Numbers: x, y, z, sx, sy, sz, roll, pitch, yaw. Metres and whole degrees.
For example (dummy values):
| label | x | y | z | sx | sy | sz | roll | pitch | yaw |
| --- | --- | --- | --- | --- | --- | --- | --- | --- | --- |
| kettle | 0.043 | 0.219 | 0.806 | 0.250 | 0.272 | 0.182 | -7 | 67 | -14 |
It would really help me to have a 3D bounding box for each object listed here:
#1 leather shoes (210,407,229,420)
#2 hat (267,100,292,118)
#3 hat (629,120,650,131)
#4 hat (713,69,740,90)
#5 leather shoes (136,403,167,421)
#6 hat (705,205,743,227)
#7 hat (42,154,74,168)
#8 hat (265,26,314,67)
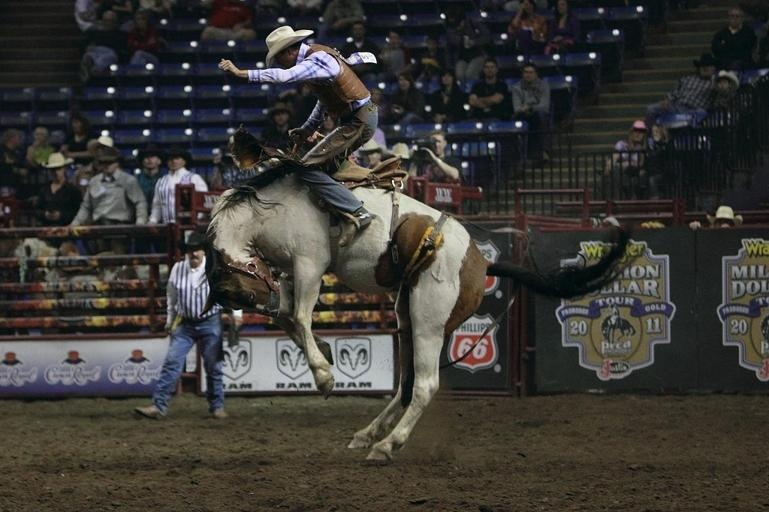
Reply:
| label | x | y | z | sx | sy | sz | roll | pitch | yaw |
| --- | --- | --- | --- | --- | --- | --- | --- | --- | --- |
| leather shoes | -3.366 | 3.204 | 33.730 | 0.186 | 0.131 | 0.319 | 5 | -13 | -28 |
| hat | -2.542 | -3.610 | 40.457 | 0.743 | 0.203 | 0.722 | -1 | -8 | -1 |
| hat | 5.981 | -3.099 | 38.693 | 0.407 | 0.305 | 0.325 | 2 | 1 | 24 |
| hat | 8.142 | -4.194 | 39.025 | 0.540 | 0.511 | 0.784 | 0 | -1 | 12 |
| leather shoes | -4.710 | 3.151 | 33.496 | 0.671 | 0.266 | 0.245 | 13 | 16 | -20 |
| hat | 7.363 | -0.873 | 35.694 | 0.720 | 0.452 | 0.790 | 0 | -1 | 11 |
| hat | -7.646 | -2.251 | 38.715 | 0.566 | 0.394 | 0.763 | 0 | -1 | -8 |
| hat | -2.003 | -3.965 | 30.939 | 0.922 | 0.392 | 1.040 | -20 | 19 | 9 |
